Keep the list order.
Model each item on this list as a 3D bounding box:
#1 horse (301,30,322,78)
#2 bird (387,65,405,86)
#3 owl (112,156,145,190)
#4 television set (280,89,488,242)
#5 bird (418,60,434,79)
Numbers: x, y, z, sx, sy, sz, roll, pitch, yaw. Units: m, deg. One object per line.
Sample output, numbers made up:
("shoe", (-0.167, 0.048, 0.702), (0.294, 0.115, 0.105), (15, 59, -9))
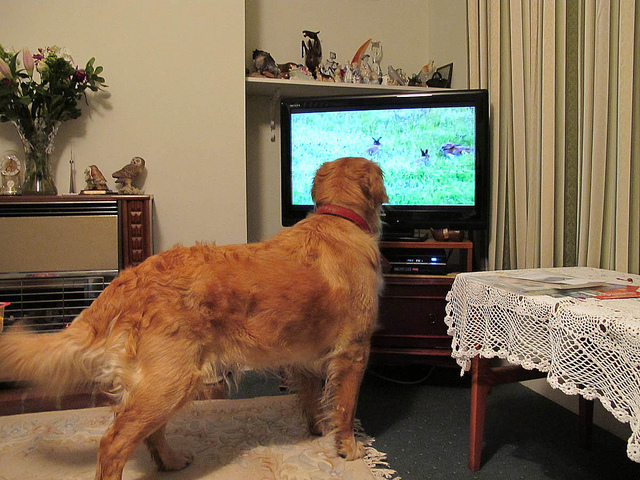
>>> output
("horse", (-0.056, -1.317, 3.980), (0.128, 0.314, 0.278), (0, 13, -1))
("bird", (0.549, -1.176, 4.007), (0.124, 0.131, 0.091), (6, 14, 19))
("owl", (-1.196, -0.426, 3.525), (0.176, 0.227, 0.091), (8, -9, -28))
("television set", (0.433, -0.471, 3.403), (0.847, 0.715, 0.240), (0, 0, 6))
("bird", (0.764, -1.235, 4.052), (0.101, 0.129, 0.086), (4, 13, 13))
